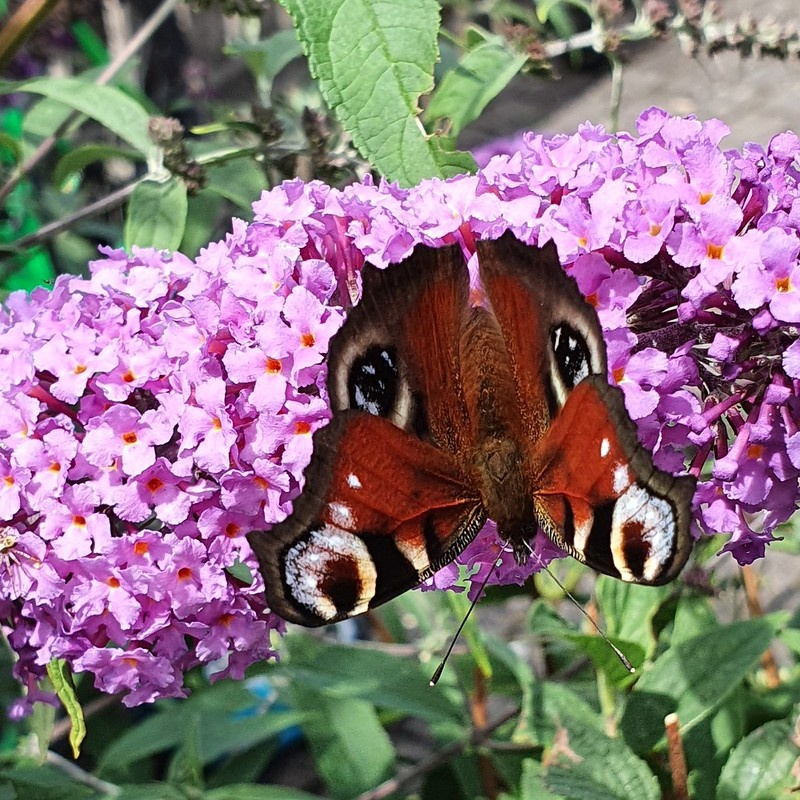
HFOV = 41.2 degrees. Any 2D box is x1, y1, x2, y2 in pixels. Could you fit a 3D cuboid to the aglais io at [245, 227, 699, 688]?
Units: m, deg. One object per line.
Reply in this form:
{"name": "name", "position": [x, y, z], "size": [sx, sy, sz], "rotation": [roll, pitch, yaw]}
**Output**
{"name": "aglais io", "position": [0.077, 0.036, 1.361], "size": [0.659, 0.579, 0.291], "rotation": [-3, 16, 5]}
